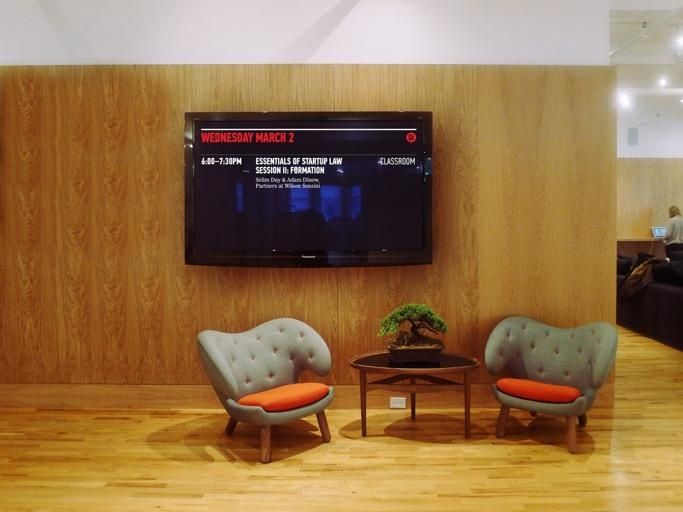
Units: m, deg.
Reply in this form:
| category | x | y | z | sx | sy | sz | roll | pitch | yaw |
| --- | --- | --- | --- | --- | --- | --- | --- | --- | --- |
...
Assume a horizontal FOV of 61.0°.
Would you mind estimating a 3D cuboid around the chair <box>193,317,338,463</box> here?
| category | x | y | z | sx | sy | sz | roll | pitch | yaw |
| --- | --- | --- | --- | --- | --- | --- | --- | --- | --- |
| chair | -0.608 | 1.108 | 4.937 | 1.136 | 0.968 | 0.925 | -3 | 4 | -37 |

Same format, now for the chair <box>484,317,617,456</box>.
| category | x | y | z | sx | sy | sz | roll | pitch | yaw |
| --- | --- | --- | --- | --- | --- | --- | --- | --- | --- |
| chair | 1.802 | 1.052 | 4.982 | 0.917 | 0.974 | 1.077 | -4 | 3 | -42 |

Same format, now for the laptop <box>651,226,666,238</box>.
| category | x | y | z | sx | sy | sz | roll | pitch | yaw |
| --- | --- | --- | --- | --- | --- | --- | --- | --- | --- |
| laptop | 6.329 | -0.463 | 11.587 | 0.243 | 0.133 | 0.211 | 4 | 50 | 12 |

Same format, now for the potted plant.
| category | x | y | z | sx | sy | sz | roll | pitch | yaw |
| --- | --- | --- | --- | --- | --- | --- | --- | --- | --- |
| potted plant | 0.604 | 0.656 | 5.084 | 0.678 | 0.518 | 0.398 | 3 | 4 | -18 |
